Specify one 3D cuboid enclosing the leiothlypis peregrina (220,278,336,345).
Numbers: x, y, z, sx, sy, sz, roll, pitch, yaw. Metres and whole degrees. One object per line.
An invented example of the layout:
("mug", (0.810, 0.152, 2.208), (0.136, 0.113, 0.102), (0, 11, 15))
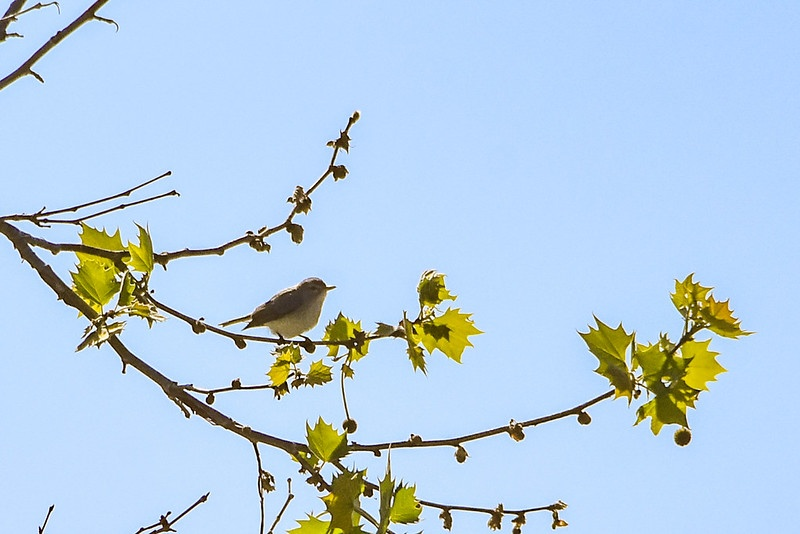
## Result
("leiothlypis peregrina", (-1.009, 0.390, 10.997), (0.984, 0.320, 0.510), (-5, -94, 16))
